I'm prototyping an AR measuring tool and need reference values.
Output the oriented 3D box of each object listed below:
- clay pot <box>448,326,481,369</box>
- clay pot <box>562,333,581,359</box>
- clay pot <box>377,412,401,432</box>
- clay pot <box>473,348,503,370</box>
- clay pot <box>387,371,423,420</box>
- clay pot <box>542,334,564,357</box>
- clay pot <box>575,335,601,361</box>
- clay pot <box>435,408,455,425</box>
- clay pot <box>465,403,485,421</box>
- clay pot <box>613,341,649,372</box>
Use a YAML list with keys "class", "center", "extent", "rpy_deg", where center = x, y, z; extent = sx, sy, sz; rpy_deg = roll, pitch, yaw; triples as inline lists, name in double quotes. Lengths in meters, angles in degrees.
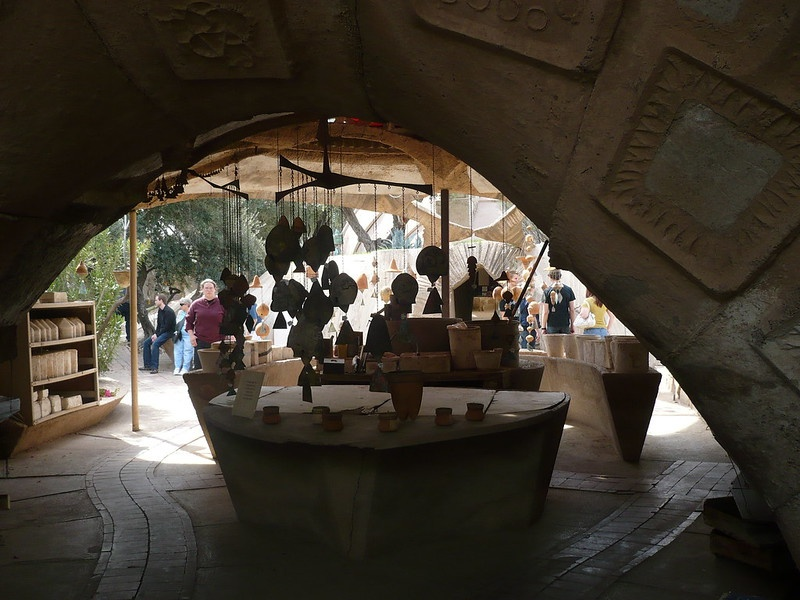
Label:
- class: "clay pot"
  center: [0.577, 0.487, 5.469]
  extent: [0.401, 0.432, 0.389]
  rpy_deg: [0, -5, 0]
- class: "clay pot"
  center: [2.679, 0.731, 8.315]
  extent: [0.314, 0.307, 0.301]
  rpy_deg: [-1, 2, 0]
- class: "clay pot"
  center: [-0.069, 0.750, 3.342]
  extent: [0.119, 0.103, 0.117]
  rpy_deg: [0, -3, 0]
- class: "clay pot"
  center: [0.883, 0.593, 5.308]
  extent: [0.220, 0.139, 0.221]
  rpy_deg: [-2, 5, 0]
- class: "clay pot"
  center: [0.033, 0.653, 3.672]
  extent: [0.273, 0.331, 0.278]
  rpy_deg: [-3, -6, 0]
- class: "clay pot"
  center: [2.543, 0.741, 8.724]
  extent: [0.252, 0.353, 0.539]
  rpy_deg: [-2, -2, -8]
- class: "clay pot"
  center: [2.645, 0.683, 7.493]
  extent: [0.298, 0.303, 0.285]
  rpy_deg: [0, -2, 0]
- class: "clay pot"
  center: [0.288, 0.737, 3.413]
  extent: [0.101, 0.086, 0.102]
  rpy_deg: [0, 0, 0]
- class: "clay pot"
  center: [0.488, 0.729, 3.465]
  extent: [0.111, 0.093, 0.111]
  rpy_deg: [-1, 2, 0]
- class: "clay pot"
  center: [2.571, 0.599, 5.994]
  extent: [0.367, 0.348, 0.361]
  rpy_deg: [0, -2, 0]
